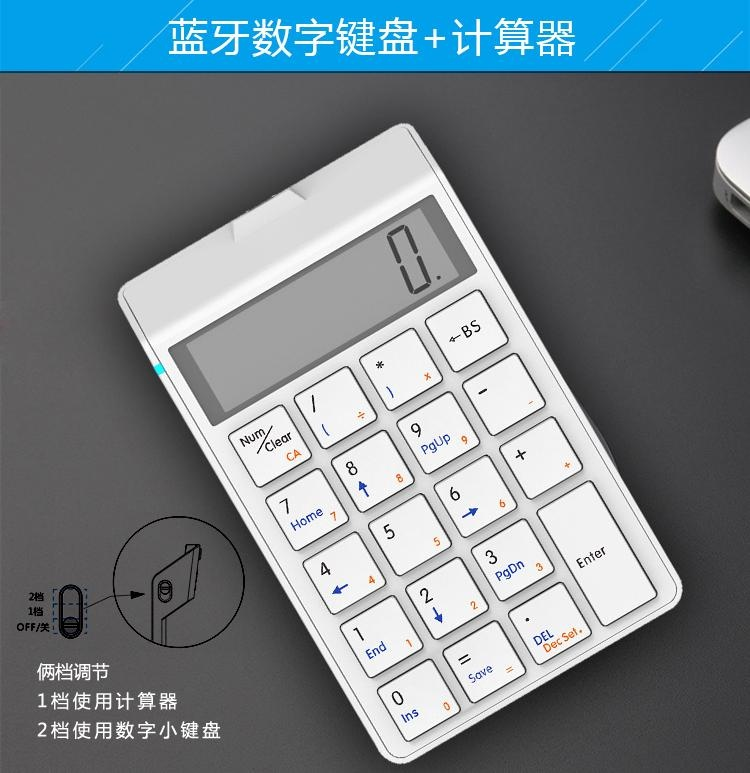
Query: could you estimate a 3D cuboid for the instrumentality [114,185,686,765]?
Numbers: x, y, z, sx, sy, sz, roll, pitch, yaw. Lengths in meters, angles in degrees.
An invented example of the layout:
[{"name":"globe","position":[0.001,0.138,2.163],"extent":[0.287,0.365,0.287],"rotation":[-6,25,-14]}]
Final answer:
[{"name":"instrumentality","position":[0.014,0.035,0.486],"extent":[0.218,0.226,0.114],"rotation":[-22,12,-11]}]
